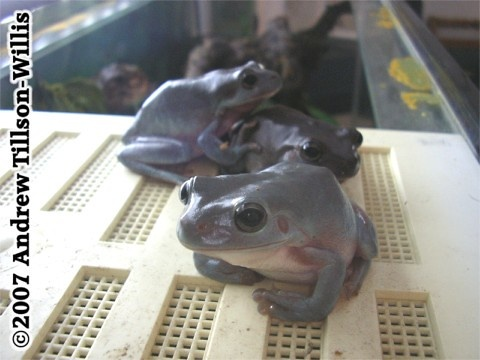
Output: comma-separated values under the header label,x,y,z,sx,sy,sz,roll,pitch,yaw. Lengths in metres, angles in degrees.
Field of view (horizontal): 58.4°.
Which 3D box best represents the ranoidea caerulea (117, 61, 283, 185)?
label,x,y,z,sx,sy,sz,roll,pitch,yaw
ranoidea caerulea,-0.210,-0.240,2.329,0.734,0.417,0.571,-14,39,6
